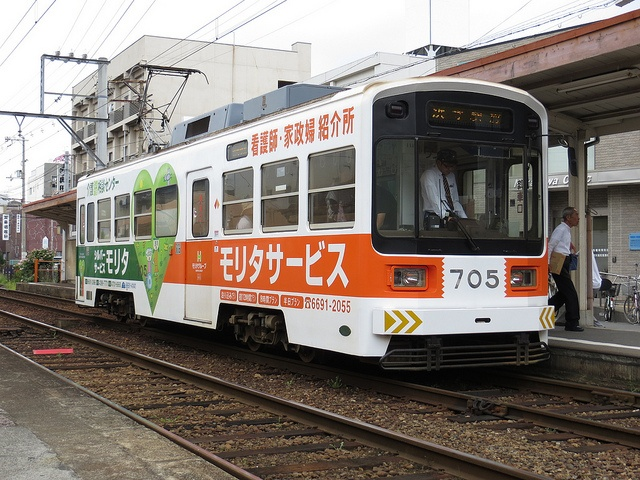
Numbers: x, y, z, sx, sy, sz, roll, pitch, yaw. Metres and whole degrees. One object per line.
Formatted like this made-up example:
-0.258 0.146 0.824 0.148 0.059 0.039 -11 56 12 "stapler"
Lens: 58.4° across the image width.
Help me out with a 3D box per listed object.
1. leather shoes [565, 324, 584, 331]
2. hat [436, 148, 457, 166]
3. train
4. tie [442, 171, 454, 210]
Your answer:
4.159 1.453 9.416 0.263 0.134 0.108 -2 -2 15 "leather shoes"
1.581 -1.062 7.242 0.173 0.242 0.207 -1 12 -32 "hat"
-1.789 -0.112 11.965 2.863 3.804 12.176 3 -3 -38 "train"
1.607 -0.577 7.231 0.076 0.599 0.064 -15 2 -23 "tie"
